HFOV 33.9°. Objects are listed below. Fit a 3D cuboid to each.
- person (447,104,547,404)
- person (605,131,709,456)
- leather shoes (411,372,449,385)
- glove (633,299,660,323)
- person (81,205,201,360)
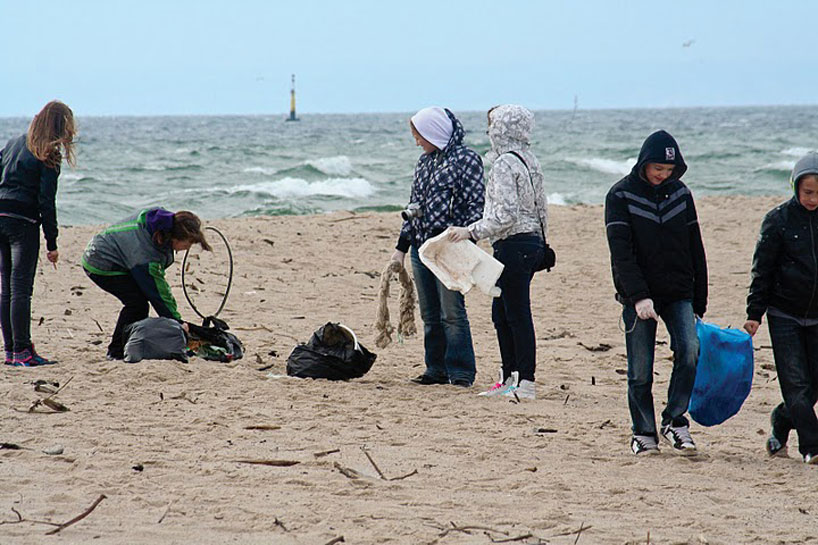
[{"bbox_3d":[1.058,-0.175,13.811,0.866,3.077,0.511,-9,13,-37],"label":"person"},{"bbox_3d":[2.369,0.208,12.847,0.960,3.113,0.491,0,10,8],"label":"person"},{"bbox_3d":[0.241,1.160,14.493,0.400,0.138,0.131,5,-1,3],"label":"leather shoes"},{"bbox_3d":[2.275,0.360,12.743,0.264,0.237,0.202,-2,10,-9],"label":"glove"},{"bbox_3d":[-2.960,0.191,14.988,1.619,1.747,1.075,-2,42,-22],"label":"person"}]
